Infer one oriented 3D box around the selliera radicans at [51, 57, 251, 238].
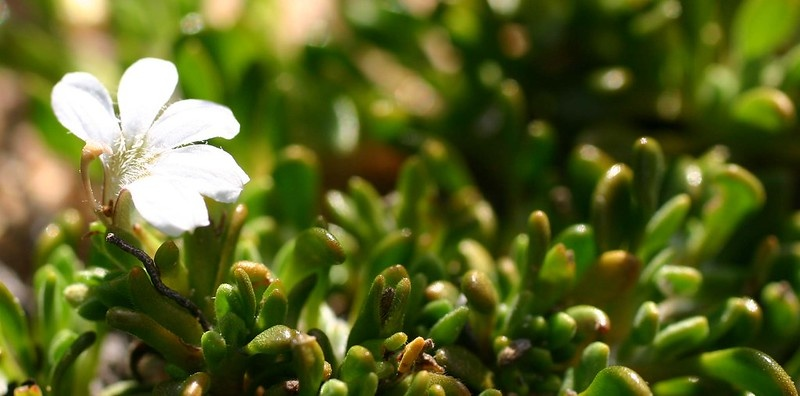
[{"bbox_3d":[-0.580,-0.085,1.828,0.431,0.433,0.193,12,-27,-13],"label":"selliera radicans"}]
